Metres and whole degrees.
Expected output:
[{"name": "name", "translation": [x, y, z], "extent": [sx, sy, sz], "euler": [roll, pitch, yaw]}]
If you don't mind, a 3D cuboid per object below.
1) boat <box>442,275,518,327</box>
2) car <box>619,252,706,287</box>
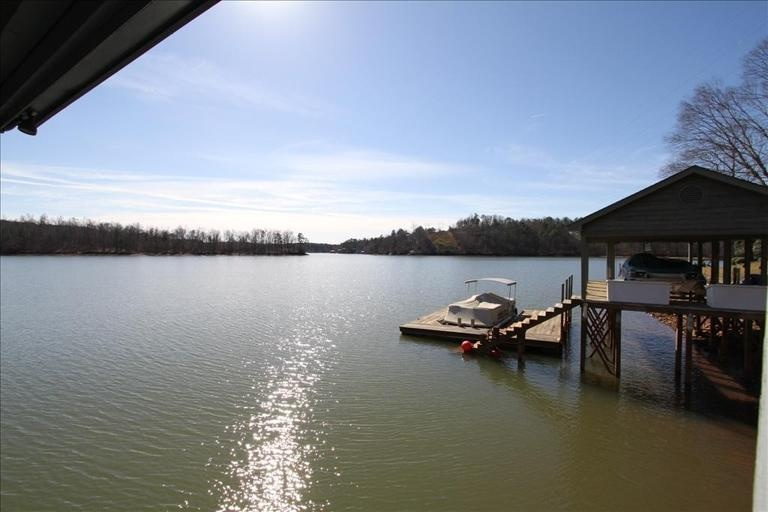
[{"name": "boat", "translation": [7.419, 3.461, 34.767], "extent": [3.514, 2.181, 6.431], "euler": [-1, 2, 30]}, {"name": "car", "translation": [14.446, 0.885, 26.173], "extent": [3.910, 1.608, 2.893], "euler": [12, 19, 41]}]
